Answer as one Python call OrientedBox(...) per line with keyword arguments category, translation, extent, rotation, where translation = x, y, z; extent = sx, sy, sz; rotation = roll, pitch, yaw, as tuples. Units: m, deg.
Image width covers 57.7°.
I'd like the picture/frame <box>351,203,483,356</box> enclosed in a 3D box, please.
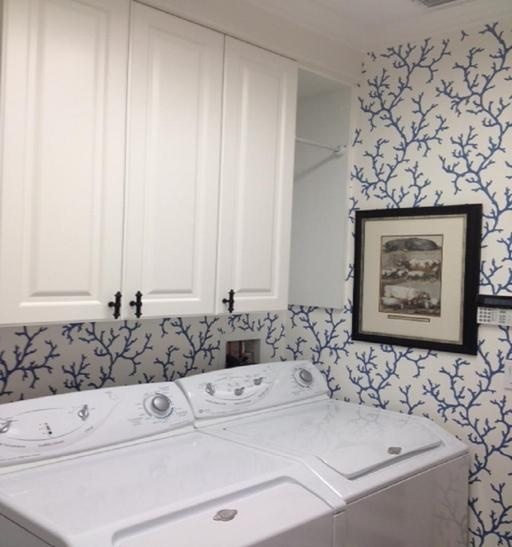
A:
OrientedBox(category="picture/frame", translation=(0.715, 0.026, 2.007), extent=(0.060, 0.783, 0.727), rotation=(0, 2, -42))
